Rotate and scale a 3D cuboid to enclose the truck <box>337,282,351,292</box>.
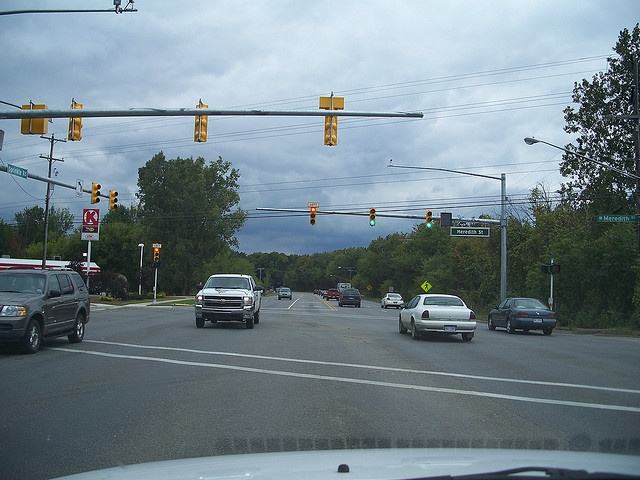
[{"bbox_3d":[3.553,6.815,101.348,1.536,1.687,2.748,1,-1,1],"label":"truck"}]

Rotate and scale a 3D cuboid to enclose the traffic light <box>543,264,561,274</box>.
[{"bbox_3d":[12.141,1.506,35.863,0.603,0.479,0.788,2,-2,-16],"label":"traffic light"}]

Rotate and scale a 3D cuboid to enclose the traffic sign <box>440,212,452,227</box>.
[{"bbox_3d":[7.008,-1.142,37.786,0.590,0.707,0.643,1,-3,1],"label":"traffic sign"}]

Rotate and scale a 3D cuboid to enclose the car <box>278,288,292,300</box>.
[{"bbox_3d":[-4.543,6.962,88.284,1.121,1.000,2.635,0,-8,-2],"label":"car"}]

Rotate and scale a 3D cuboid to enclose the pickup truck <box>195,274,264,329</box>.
[{"bbox_3d":[-3.558,2.357,26.534,2.313,2.025,2.835,1,-3,-9],"label":"pickup truck"}]

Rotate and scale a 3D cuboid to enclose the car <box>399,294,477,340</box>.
[{"bbox_3d":[4.031,2.705,24.147,1.879,1.560,2.956,2,-3,-24],"label":"car"}]

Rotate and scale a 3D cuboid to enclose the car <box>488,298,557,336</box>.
[{"bbox_3d":[8.841,3.252,29.532,2.336,1.509,4.225,1,-3,-6],"label":"car"}]

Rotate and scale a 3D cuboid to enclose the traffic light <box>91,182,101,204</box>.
[{"bbox_3d":[-10.558,-2.178,32.208,0.429,0.935,1.141,2,-3,-19],"label":"traffic light"}]

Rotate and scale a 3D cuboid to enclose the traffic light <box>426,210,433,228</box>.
[{"bbox_3d":[6.357,-1.200,39.649,0.295,0.855,1.971,0,-3,13],"label":"traffic light"}]

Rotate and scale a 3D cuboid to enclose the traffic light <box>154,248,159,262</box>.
[{"bbox_3d":[-11.190,1.039,46.717,0.244,0.994,0.546,1,-2,-6],"label":"traffic light"}]
